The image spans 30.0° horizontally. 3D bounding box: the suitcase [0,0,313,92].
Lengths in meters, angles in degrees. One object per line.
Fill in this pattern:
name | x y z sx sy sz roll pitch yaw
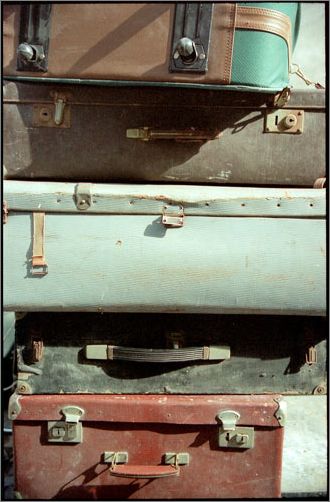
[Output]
suitcase | -0.085 -0.827 2.416 1.126 0.343 0.129 2 0 0
